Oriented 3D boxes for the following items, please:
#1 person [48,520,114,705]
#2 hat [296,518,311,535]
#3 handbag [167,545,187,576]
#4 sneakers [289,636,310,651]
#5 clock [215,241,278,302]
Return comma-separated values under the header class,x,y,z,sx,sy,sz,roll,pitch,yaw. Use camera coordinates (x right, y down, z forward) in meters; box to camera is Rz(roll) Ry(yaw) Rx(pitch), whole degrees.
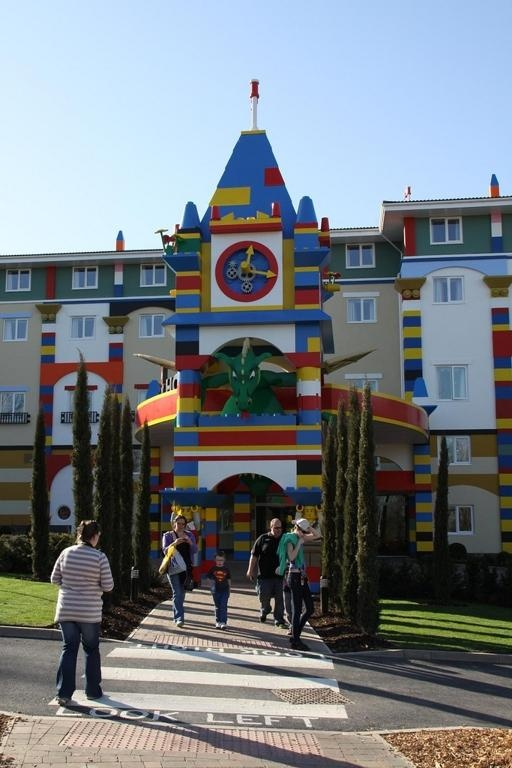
class,x,y,z,sx,sy,sz,roll,pitch,yaw
person,-1.661,2.185,7.991,0.560,1.698,0.672,3,-5,-24
hat,0.676,2.061,12.014,0.190,0.238,0.243,5,7,4
handbag,-1.256,2.810,13.226,0.164,0.399,0.369,5,-26,-27
sneakers,0.607,3.651,11.814,0.253,0.205,0.376,1,-5,0
clock,-0.192,-2.965,22.426,1.480,1.641,0.392,0,-10,15
